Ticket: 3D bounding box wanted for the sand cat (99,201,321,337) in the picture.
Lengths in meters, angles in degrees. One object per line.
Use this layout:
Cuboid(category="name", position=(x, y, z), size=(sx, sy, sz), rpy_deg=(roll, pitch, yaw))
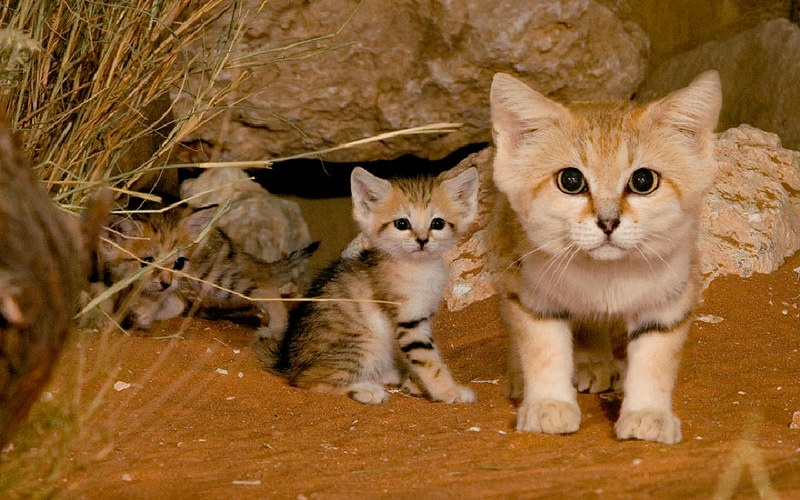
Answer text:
Cuboid(category="sand cat", position=(-1.173, 0.062, 5.136), size=(1.335, 0.695, 0.659), rpy_deg=(-4, -8, -25))
